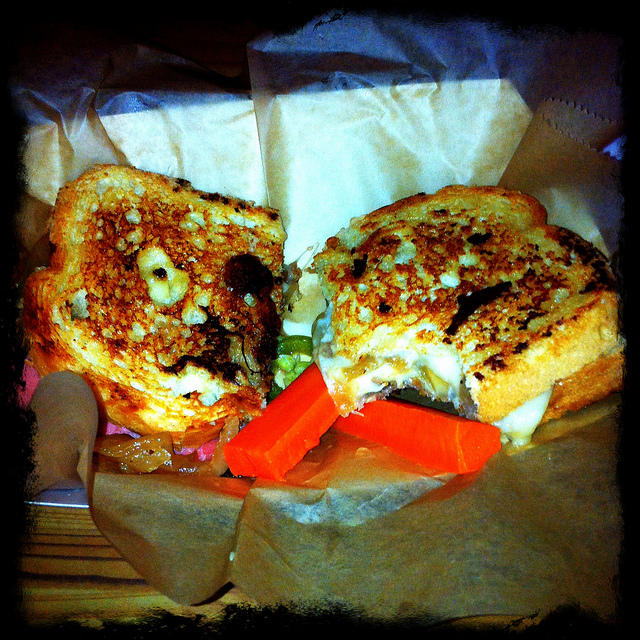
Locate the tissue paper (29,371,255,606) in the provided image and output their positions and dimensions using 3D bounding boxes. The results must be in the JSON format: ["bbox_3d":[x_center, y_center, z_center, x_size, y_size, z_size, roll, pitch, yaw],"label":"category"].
[{"bbox_3d":[-0.519,0.524,2.256,0.608,0.639,0.271,21,109,0],"label":"tissue paper"}]
